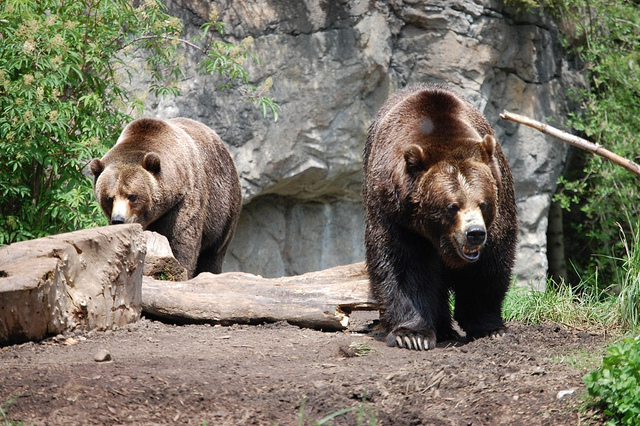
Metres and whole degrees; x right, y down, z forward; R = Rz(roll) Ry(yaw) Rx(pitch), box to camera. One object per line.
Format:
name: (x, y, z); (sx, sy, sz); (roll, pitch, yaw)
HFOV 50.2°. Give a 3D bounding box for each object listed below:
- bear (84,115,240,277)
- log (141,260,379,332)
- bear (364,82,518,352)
bear: (-2.305, -0.206, 9.961); (1.540, 2.296, 3.162); (4, 7, 13)
log: (-0.770, 0.994, 7.904); (1.866, 0.289, 1.164); (2, 8, 4)
bear: (1.236, 0.042, 7.225); (1.579, 2.754, 1.089); (-1, 1, 13)
